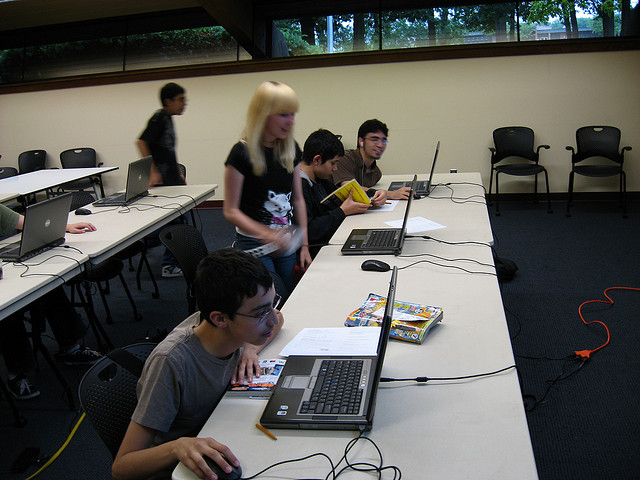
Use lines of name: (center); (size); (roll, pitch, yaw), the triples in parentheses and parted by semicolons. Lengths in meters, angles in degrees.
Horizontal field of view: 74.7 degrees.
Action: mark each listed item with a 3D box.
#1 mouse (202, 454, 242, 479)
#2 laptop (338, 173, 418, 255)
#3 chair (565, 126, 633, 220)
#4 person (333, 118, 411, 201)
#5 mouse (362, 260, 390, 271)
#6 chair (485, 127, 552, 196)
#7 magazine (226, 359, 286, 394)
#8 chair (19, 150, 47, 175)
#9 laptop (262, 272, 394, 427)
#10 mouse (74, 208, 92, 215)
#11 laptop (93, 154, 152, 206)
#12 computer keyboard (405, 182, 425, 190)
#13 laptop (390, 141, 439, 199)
mouse: (-0.255, 0.617, 1.129); (0.091, 0.023, 0.053); (26, 18, 22)
laptop: (0.352, -0.226, 2.587); (0.454, 0.412, 0.541); (2, 15, 11)
chair: (3.814, -1.001, 5.771); (0.736, 1.084, 1.164); (8, 22, 35)
person: (0.356, -0.757, 3.926); (0.636, 0.826, 0.946); (-5, 14, -32)
mouse: (0.299, 0.139, 2.241); (0.095, 0.036, 0.064); (-2, 6, 14)
chair: (2.941, -1.201, 6.286); (0.866, 1.115, 0.904); (-6, 21, 11)
magazine: (-0.217, 0.505, 1.528); (0.181, 0.027, 0.258); (0, 5, 2)
chair: (-4.840, -1.326, 7.058); (0.465, 0.348, 0.305); (-12, 19, -19)
laptop: (0.074, 0.416, 1.390); (0.407, 0.363, 0.482); (1, 26, 11)
mouse: (-1.980, -0.238, 3.531); (0.105, 0.037, 0.057); (3, 23, 5)
laptop: (-1.772, -0.544, 3.870); (0.514, 0.380, 0.404); (1, 19, 20)
computer keyboard: (0.887, -0.500, 3.881); (0.120, 0.031, 0.133); (2, 19, 14)
laptop: (0.904, -0.533, 3.998); (0.418, 0.615, 0.402); (-2, 62, 7)
